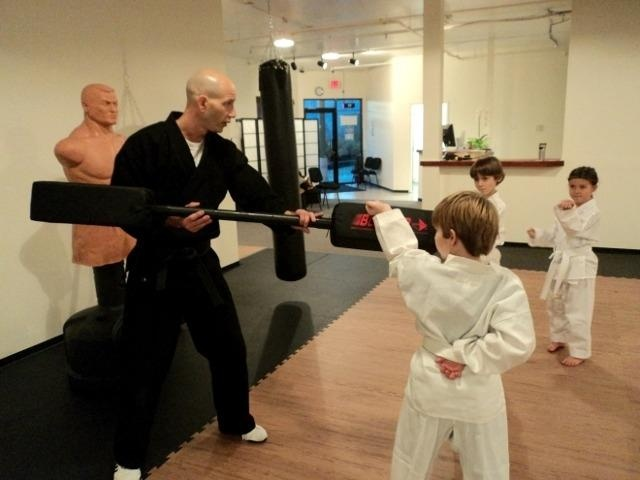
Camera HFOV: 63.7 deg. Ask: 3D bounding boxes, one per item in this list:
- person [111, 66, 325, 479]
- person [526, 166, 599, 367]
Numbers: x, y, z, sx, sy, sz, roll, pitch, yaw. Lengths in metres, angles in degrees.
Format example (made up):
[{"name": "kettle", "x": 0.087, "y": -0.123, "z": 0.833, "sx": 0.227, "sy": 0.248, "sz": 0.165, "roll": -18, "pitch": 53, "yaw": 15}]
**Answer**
[{"name": "person", "x": -0.752, "y": 0.200, "z": 2.955, "sx": 1.094, "sy": 2.232, "sz": 0.521, "roll": -8, "pitch": 15, "yaw": -24}, {"name": "person", "x": 1.799, "y": 0.179, "z": 3.769, "sx": 0.389, "sy": 1.394, "sz": 0.476, "roll": -14, "pitch": 19, "yaw": -41}]
